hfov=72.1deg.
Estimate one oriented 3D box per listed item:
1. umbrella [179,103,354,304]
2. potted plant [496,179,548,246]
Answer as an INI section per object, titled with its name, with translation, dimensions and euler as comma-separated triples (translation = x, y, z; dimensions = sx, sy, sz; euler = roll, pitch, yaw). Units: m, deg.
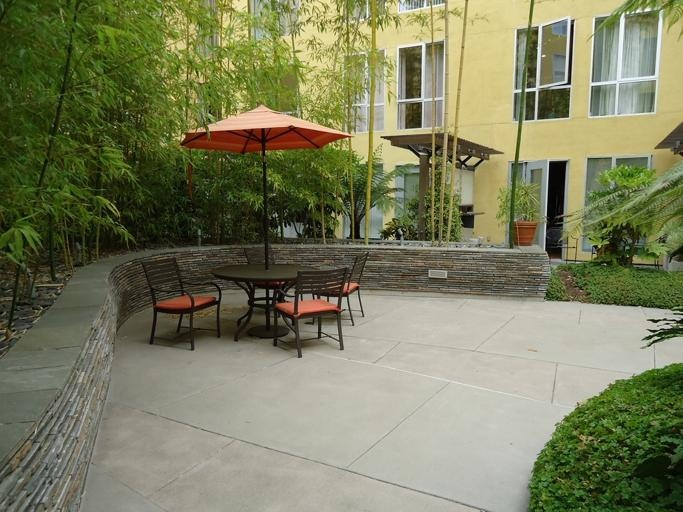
[umbrella]
translation = -0.872, -0.735, 5.518
dimensions = 2.022, 1.944, 2.008
euler = -3, 7, 5
[potted plant]
translation = 3.677, -0.859, 9.793
dimensions = 0.963, 1.299, 0.927
euler = -4, 1, -5
